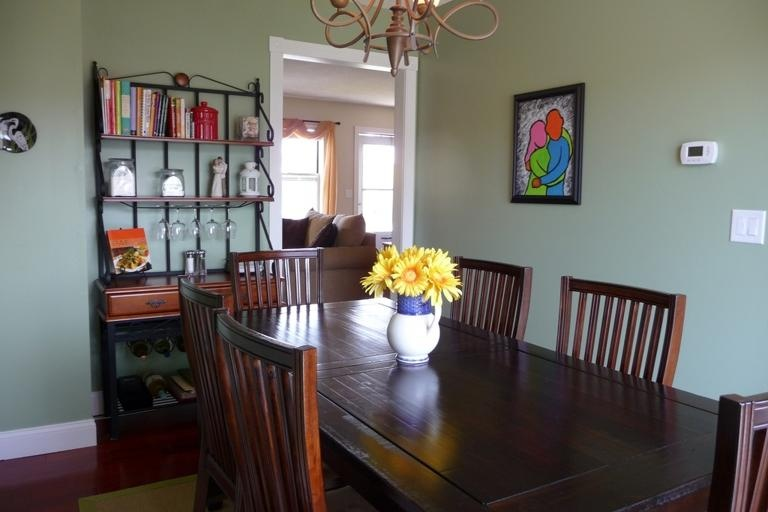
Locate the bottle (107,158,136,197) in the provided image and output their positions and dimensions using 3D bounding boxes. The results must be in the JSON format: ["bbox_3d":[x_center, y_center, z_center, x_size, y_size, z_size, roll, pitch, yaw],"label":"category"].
[{"bbox_3d":[-1.742,-0.526,3.546,0.168,0.243,0.152,-5,13,-27],"label":"bottle"}]

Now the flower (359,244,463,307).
[{"bbox_3d":[0.163,0.062,2.287,0.309,0.224,0.305,10,13,42],"label":"flower"}]

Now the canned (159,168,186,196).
[{"bbox_3d":[-1.457,-0.501,3.694,0.172,0.211,0.179,1,0,-15],"label":"canned"}]

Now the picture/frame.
[{"bbox_3d":[1.151,-0.790,3.774,0.104,0.807,0.610,-7,14,-36],"label":"picture/frame"}]

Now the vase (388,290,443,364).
[{"bbox_3d":[0.139,0.307,2.318,0.220,0.305,0.269,-1,2,-39],"label":"vase"}]

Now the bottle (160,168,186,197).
[{"bbox_3d":[-1.447,-0.503,3.704,0.174,0.214,0.179,1,0,-21],"label":"bottle"}]

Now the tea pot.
[{"bbox_3d":[0.130,0.312,2.382,0.220,0.305,0.275,0,4,-42],"label":"tea pot"}]

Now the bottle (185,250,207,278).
[{"bbox_3d":[-1.350,0.049,3.829,0.182,0.257,0.170,2,4,0],"label":"bottle"}]
